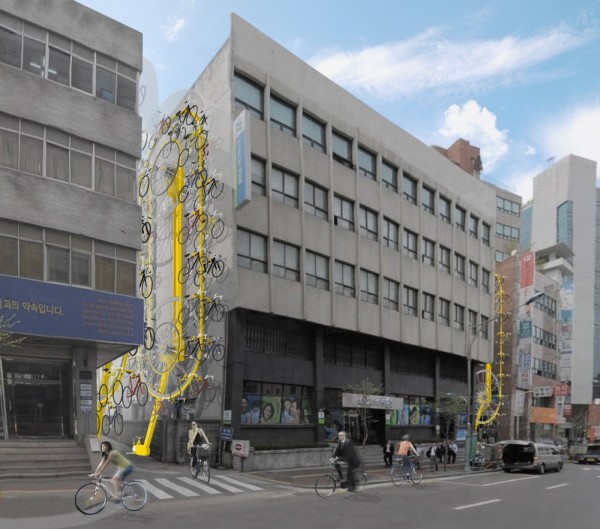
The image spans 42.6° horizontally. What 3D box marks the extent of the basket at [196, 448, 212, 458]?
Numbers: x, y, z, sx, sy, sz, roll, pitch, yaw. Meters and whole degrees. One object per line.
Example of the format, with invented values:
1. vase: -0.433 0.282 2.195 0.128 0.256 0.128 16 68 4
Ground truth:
1. basket: -4.186 8.165 33.723 0.450 0.618 0.835 10 -19 -28

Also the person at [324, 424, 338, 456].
1. person: 2.000 10.873 48.153 0.342 1.712 1.740 -2 -30 12
